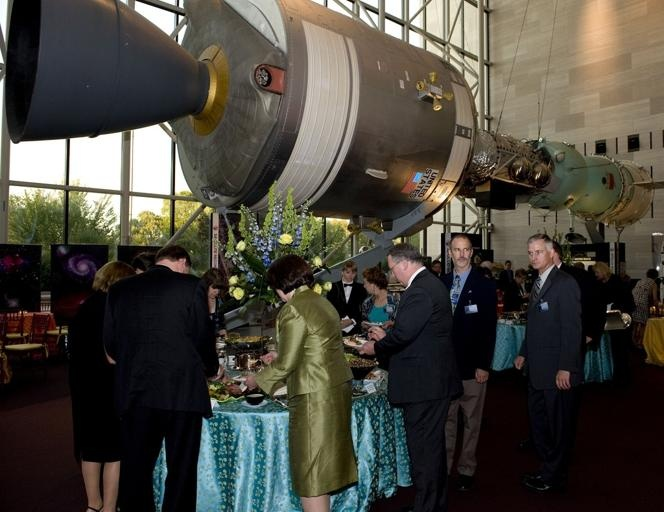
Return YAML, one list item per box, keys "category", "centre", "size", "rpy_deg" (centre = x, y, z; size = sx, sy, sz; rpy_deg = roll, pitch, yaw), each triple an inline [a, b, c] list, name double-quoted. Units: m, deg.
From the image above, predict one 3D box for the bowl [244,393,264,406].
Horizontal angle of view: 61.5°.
- category: "bowl"
  centre: [-0.486, 0.888, 3.482]
  size: [0.073, 0.039, 0.077]
  rpy_deg: [1, -2, 0]

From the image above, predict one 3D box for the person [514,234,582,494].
- category: "person"
  centre: [1.655, 0.813, 4.166]
  size: [0.398, 1.924, 0.303]
  rpy_deg: [2, 3, 35]

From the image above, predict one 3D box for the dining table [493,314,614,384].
- category: "dining table"
  centre: [2.769, 1.174, 6.910]
  size: [1.421, 0.467, 0.991]
  rpy_deg: [0, -4, 16]
